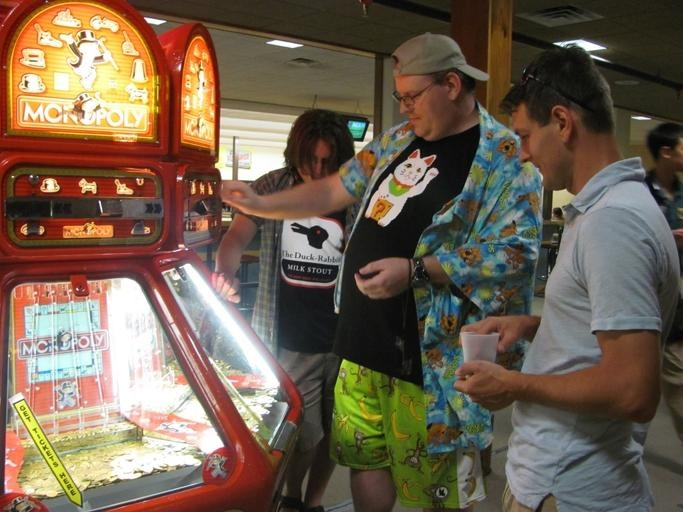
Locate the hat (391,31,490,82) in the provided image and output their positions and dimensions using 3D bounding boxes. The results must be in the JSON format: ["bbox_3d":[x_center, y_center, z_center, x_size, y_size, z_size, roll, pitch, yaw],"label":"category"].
[{"bbox_3d":[0.342,-0.658,1.730,0.339,0.166,0.210,-2,16,-6],"label":"hat"}]

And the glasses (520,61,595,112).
[{"bbox_3d":[0.464,-0.338,1.136,0.135,0.039,0.120,25,12,-1],"label":"glasses"}]

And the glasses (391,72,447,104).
[{"bbox_3d":[0.256,-0.530,1.656,0.104,0.032,0.101,-34,14,-3],"label":"glasses"}]

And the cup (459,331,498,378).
[{"bbox_3d":[0.326,0.226,1.222,0.078,0.063,0.083,1,-5,0],"label":"cup"}]

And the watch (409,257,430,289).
[{"bbox_3d":[0.233,0.053,1.548,0.055,0.080,0.082,-2,-30,9],"label":"watch"}]
